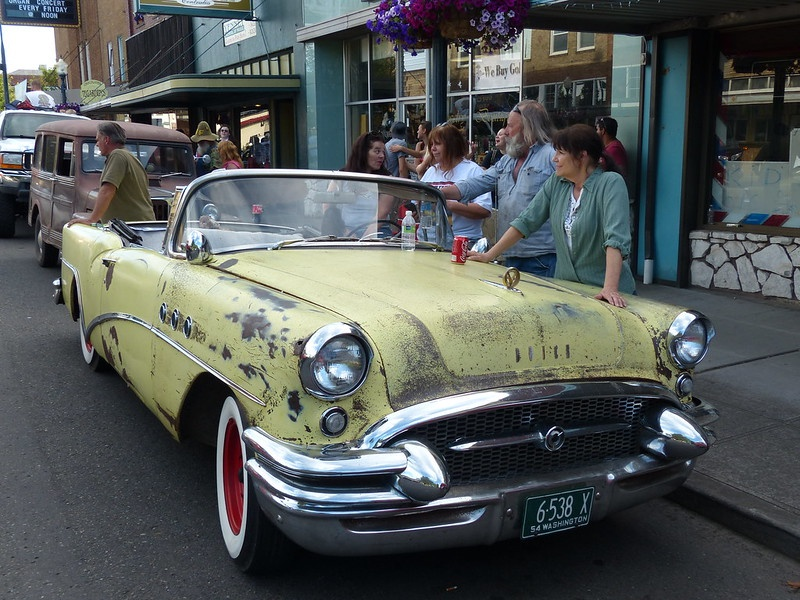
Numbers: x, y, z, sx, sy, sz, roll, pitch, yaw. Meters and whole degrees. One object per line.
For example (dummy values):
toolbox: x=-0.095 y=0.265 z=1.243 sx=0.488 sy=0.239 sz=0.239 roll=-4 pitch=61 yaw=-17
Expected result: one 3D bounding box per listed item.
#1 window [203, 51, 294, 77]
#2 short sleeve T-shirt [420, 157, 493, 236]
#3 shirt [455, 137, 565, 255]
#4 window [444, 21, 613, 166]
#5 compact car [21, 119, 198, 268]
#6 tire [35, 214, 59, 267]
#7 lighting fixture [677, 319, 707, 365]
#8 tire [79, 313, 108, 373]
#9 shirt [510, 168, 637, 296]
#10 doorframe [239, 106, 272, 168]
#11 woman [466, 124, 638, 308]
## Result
window: x=-4.125 y=-6.852 z=18.649 sx=0.137 sy=0.647 sz=5.157 roll=-8 pitch=18 yaw=-31
short sleeve T-shirt: x=0.447 y=-0.832 z=5.132 sx=0.410 sy=0.881 sz=0.782 roll=-5 pitch=8 yaw=-29
shirt: x=0.846 y=-0.793 z=4.883 sx=0.305 sy=0.840 sz=1.068 roll=-2 pitch=5 yaw=-26
window: x=1.669 y=-2.657 z=7.912 sx=0.127 sy=2.274 sz=2.778 roll=-1 pitch=12 yaw=-30
compact car: x=-4.722 y=-1.738 z=10.400 sx=1.892 sy=2.185 sz=3.363 roll=-5 pitch=12 yaw=-36
tire: x=-5.651 y=-0.950 z=10.211 sx=0.190 sy=0.699 sz=0.632 roll=0 pitch=22 yaw=-25
lighting fixture: x=1.496 y=0.213 z=3.290 sx=0.167 sy=0.240 sz=0.114 roll=-6 pitch=13 yaw=-33
tire: x=-2.502 y=0.358 z=5.209 sx=0.126 sy=0.471 sz=0.408 roll=-6 pitch=16 yaw=-31
shirt: x=1.119 y=-0.450 z=4.193 sx=0.363 sy=0.666 sz=0.717 roll=-8 pitch=16 yaw=-34
doorframe: x=-4.531 y=-5.074 z=19.751 sx=0.612 sy=1.671 sz=3.707 roll=-5 pitch=17 yaw=-20
woman: x=1.152 y=-0.522 z=4.212 sx=0.494 sy=0.837 sz=0.972 roll=-12 pitch=22 yaw=-36
